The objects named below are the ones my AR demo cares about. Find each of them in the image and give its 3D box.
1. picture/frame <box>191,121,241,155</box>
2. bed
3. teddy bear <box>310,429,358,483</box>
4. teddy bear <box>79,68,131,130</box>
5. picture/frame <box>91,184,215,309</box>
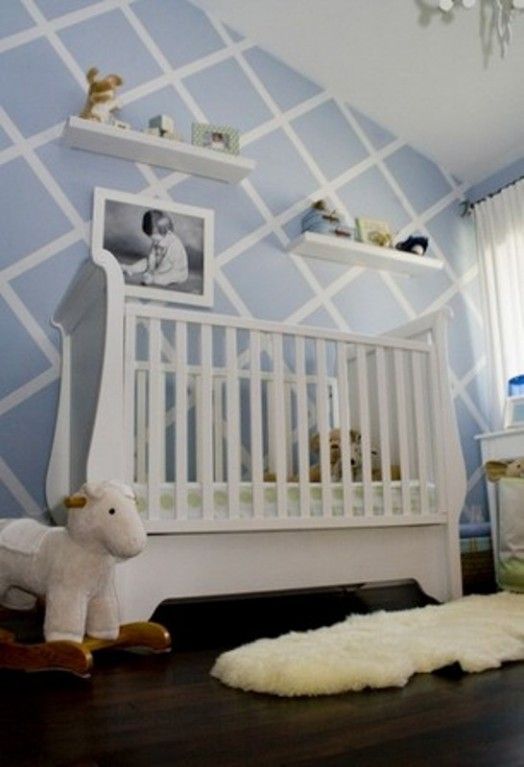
[{"bbox_3d":[-0.179,-0.939,2.772,0.181,0.126,0.110,0,-5,-6],"label":"picture/frame"},{"bbox_3d":[-0.043,0.201,2.051,1.224,0.928,0.665,5,-13,-28],"label":"bed"},{"bbox_3d":[0.240,0.260,2.338,0.121,0.195,0.180,5,24,8],"label":"teddy bear"},{"bbox_3d":[-0.565,-1.007,2.595,0.168,0.243,0.216,1,-5,-13],"label":"teddy bear"},{"bbox_3d":[-0.397,-0.477,2.552,0.608,0.482,0.042,2,-7,-32],"label":"picture/frame"}]
